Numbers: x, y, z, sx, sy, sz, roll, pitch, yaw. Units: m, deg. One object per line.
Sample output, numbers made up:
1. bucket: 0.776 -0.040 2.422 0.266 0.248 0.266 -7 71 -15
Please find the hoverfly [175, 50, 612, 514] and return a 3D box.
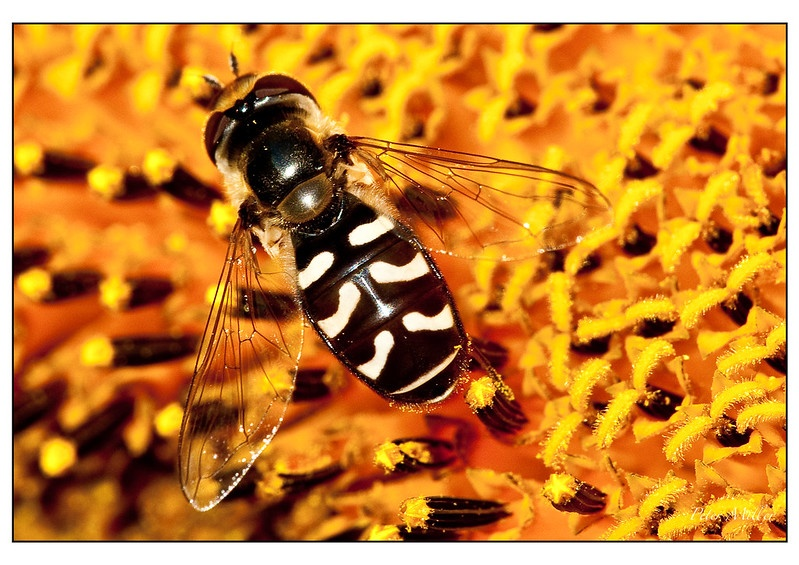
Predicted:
1. hoverfly: -0.040 -0.097 2.397 0.775 1.623 1.311 -3 12 -4
